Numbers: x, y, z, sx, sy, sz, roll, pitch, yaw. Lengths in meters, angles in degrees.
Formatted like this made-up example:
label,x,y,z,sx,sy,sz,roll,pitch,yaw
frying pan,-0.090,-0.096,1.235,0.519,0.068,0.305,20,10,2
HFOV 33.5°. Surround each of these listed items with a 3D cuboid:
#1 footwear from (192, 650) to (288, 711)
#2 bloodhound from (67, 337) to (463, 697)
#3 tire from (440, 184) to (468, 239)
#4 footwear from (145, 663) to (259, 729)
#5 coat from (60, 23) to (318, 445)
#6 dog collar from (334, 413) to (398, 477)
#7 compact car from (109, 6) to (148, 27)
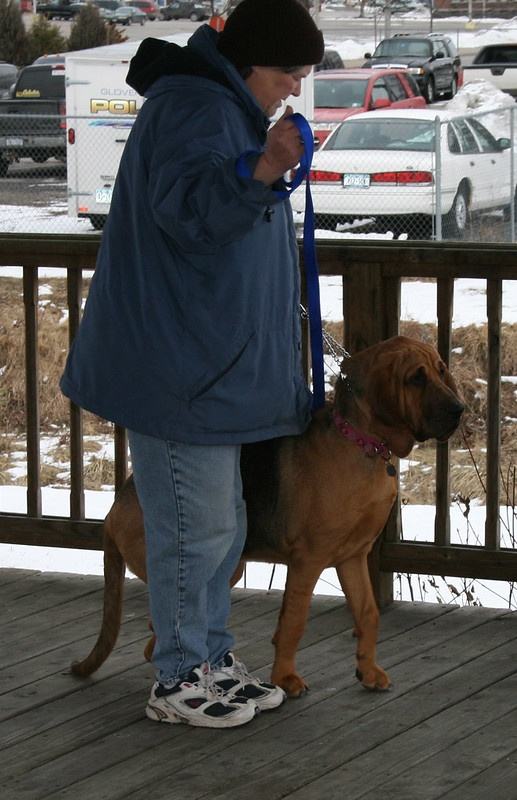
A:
label,x,y,z,sx,sy,sz,roll,pitch,yaw
footwear,-0.035,0.717,2.191,0.235,0.102,0.082,15,14,20
bloodhound,-0.009,0.325,2.280,1.121,0.824,0.364,-3,-6,14
tire,2.642,-2.448,11.425,0.182,0.686,0.704,4,-23,25
footwear,-0.138,0.729,2.169,0.312,0.170,0.116,2,-2,4
coat,-0.184,-0.330,1.771,0.540,0.872,0.539,-1,5,1
dog collar,0.268,0.115,2.142,0.051,0.171,0.107,-44,5,-8
compact car,-6.481,-18.847,42.422,1.096,0.857,1.983,20,28,27
